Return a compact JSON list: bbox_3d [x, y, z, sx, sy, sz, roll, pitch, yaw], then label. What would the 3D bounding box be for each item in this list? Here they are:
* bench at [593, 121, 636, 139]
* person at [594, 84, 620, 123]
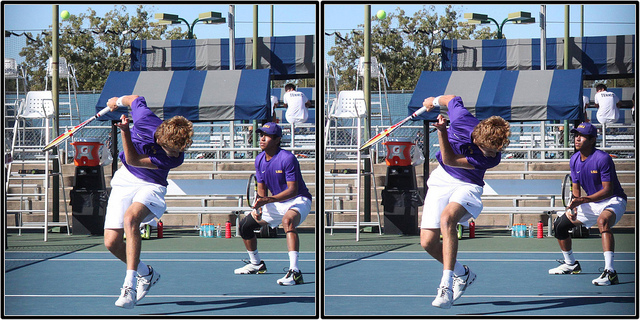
[{"bbox_3d":[12.025,-1.239,38.378,1.563,0.318,1.408,3,0,-2],"label":"bench"},{"bbox_3d":[11.322,-2.174,36.975,0.898,1.328,1.090,-1,1,15],"label":"person"}]
